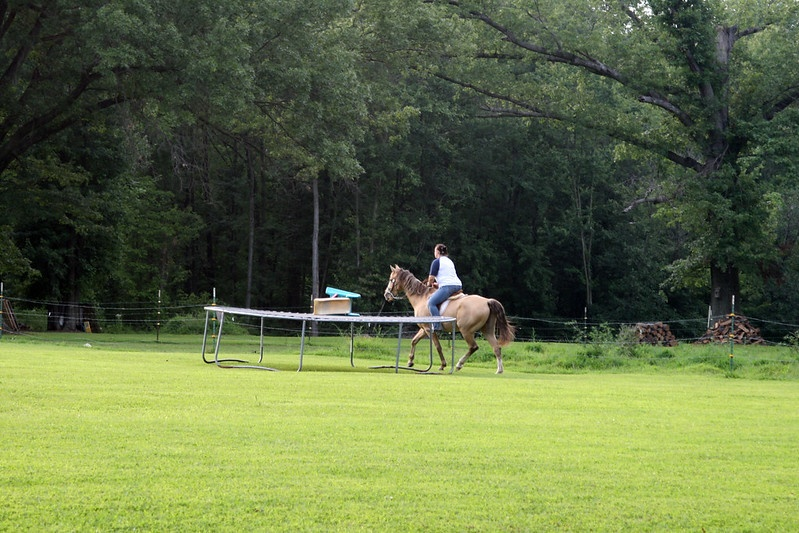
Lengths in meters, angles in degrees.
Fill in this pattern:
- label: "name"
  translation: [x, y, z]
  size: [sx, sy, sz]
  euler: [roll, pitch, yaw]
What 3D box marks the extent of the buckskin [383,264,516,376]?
- label: "buckskin"
  translation: [1.466, 1.638, 35.174]
  size: [4.759, 3.411, 1.237]
  euler: [2, 0, 34]
